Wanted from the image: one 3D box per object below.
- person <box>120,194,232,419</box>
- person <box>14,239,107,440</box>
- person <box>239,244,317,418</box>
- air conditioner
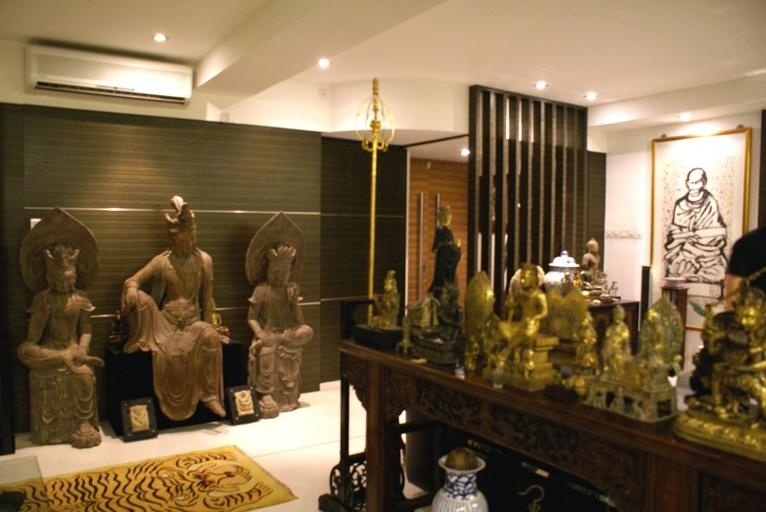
[{"bbox_3d":[-1.940,0.504,5.406,0.924,2.071,0.474,-1,9,-15],"label":"person"},{"bbox_3d":[-2.817,0.778,5.141,0.707,1.736,0.477,2,9,6],"label":"person"},{"bbox_3d":[-1.096,0.733,5.844,0.450,1.679,0.645,8,11,40],"label":"person"},{"bbox_3d":[-2.576,-1.704,5.488,1.416,0.451,0.201,-2,9,-25],"label":"air conditioner"}]
